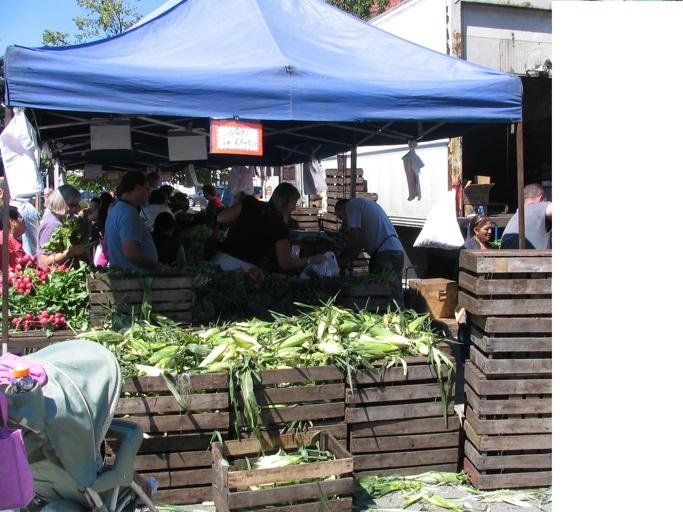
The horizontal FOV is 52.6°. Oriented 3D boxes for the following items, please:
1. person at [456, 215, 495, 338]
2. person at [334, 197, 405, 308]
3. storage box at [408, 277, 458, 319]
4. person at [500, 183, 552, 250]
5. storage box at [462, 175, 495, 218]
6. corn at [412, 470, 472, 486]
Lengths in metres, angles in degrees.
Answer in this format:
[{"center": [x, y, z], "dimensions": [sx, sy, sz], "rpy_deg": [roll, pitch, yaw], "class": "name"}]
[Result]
[{"center": [1.266, 0.144, 6.528], "dimensions": [0.295, 0.984, 2.298], "rpy_deg": [0, 8, 12], "class": "person"}, {"center": [0.278, 0.119, 7.527], "dimensions": [0.825, 1.540, 0.548], "rpy_deg": [-4, -6, -15], "class": "person"}, {"center": [0.828, 0.374, 6.300], "dimensions": [0.397, 0.335, 0.359], "rpy_deg": [0, 10, -12], "class": "storage box"}, {"center": [1.844, -0.362, 6.948], "dimensions": [0.414, 0.740, 0.485], "rpy_deg": [2, 5, 12], "class": "person"}, {"center": [1.887, -0.837, 9.756], "dimensions": [0.501, 0.599, 0.456], "rpy_deg": [-1, 0, -8], "class": "storage box"}, {"center": [0.701, 1.559, 4.834], "dimensions": [0.402, 0.089, 0.097], "rpy_deg": [-3, 8, -11], "class": "corn"}]
